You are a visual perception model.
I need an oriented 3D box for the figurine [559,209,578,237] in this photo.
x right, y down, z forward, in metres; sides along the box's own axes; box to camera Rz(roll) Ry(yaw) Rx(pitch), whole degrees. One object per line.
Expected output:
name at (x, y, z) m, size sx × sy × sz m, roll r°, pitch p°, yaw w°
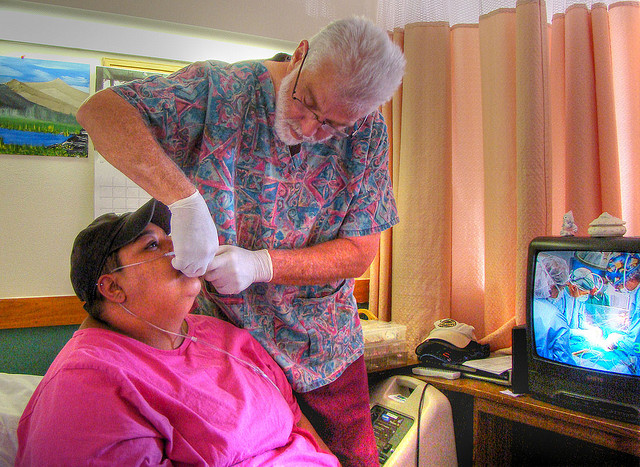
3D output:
figurine at (0.979, -0.037, 1.970) m, size 0.048 × 0.089 × 0.120 m, roll 1°, pitch 7°, yaw 25°

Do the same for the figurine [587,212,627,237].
figurine at (1.074, -0.041, 1.861) m, size 0.099 × 0.072 × 0.099 m, roll -3°, pitch 5°, yaw -35°

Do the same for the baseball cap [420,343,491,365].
baseball cap at (0.642, 0.546, 2.287) m, size 0.342 × 0.094 × 0.127 m, roll -3°, pitch 6°, yaw -8°
